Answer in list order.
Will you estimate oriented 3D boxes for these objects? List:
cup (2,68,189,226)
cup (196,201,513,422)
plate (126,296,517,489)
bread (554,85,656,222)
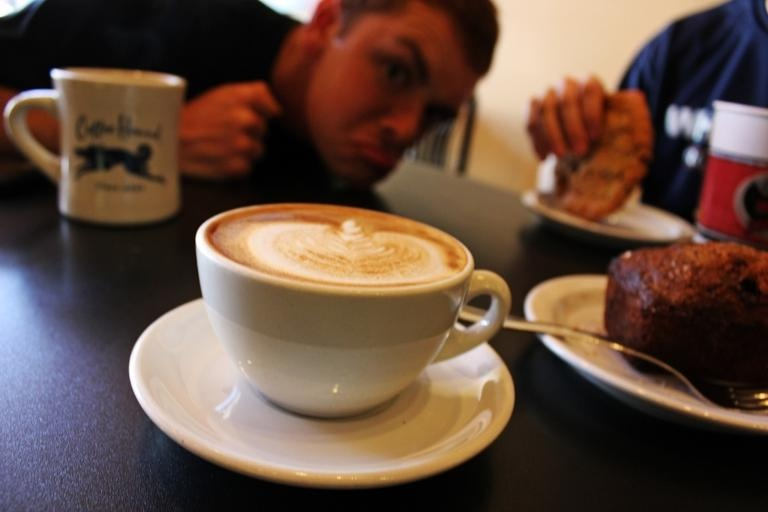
[{"bbox_3d":[-0.273,-0.125,0.683,0.205,0.176,0.140,1,16,-1],"label":"cup"},{"bbox_3d":[-0.027,0.027,0.456,0.188,0.093,0.154,3,24,-14],"label":"cup"},{"bbox_3d":[-0.044,0.093,0.443,0.268,0.027,0.167,9,27,4],"label":"plate"},{"bbox_3d":[0.216,-0.109,0.682,0.106,0.137,0.040,-1,20,-41],"label":"bread"}]
